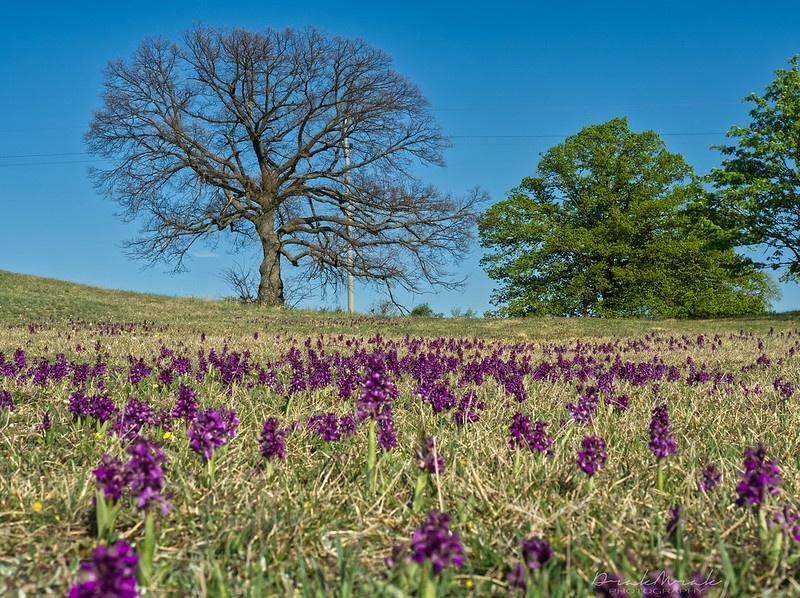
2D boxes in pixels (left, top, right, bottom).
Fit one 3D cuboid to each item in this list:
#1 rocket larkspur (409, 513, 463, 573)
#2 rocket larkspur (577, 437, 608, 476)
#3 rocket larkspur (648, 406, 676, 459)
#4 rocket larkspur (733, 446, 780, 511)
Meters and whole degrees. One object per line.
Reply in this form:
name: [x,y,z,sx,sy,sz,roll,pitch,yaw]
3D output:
rocket larkspur: [0.251,1.200,3.390,0.284,0.367,0.298,1,-24,15]
rocket larkspur: [1.201,0.964,4.116,0.165,0.264,0.251,-2,-4,17]
rocket larkspur: [1.739,0.866,4.389,0.149,0.385,0.444,-2,-4,22]
rocket larkspur: [2.017,0.979,3.739,0.221,0.385,0.394,-3,-4,30]
